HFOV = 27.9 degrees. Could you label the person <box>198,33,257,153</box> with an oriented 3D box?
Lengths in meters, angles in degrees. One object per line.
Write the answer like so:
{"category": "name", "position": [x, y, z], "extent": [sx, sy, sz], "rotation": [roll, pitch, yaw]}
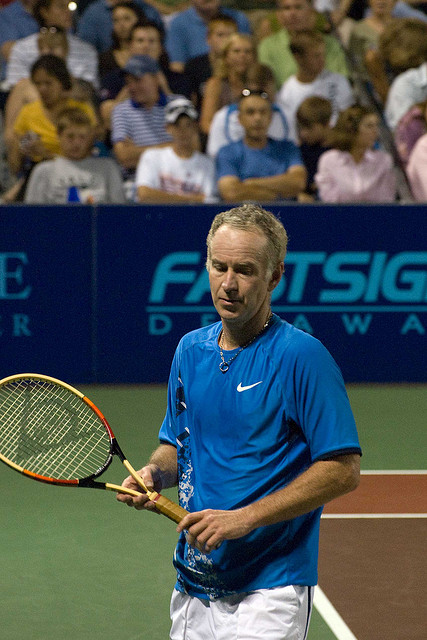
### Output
{"category": "person", "position": [0.220, -2.241, 9.356], "extent": [0.645, 1.638, 0.841], "rotation": [5, 21, -3]}

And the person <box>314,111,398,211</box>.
{"category": "person", "position": [1.451, -1.648, 8.747], "extent": [0.829, 1.182, 0.354], "rotation": [-1, -5, 2]}

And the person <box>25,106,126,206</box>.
{"category": "person", "position": [-1.382, -1.554, 8.385], "extent": [0.936, 1.018, 0.568], "rotation": [2, -14, -12]}

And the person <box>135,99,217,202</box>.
{"category": "person", "position": [-0.385, -1.670, 8.636], "extent": [0.836, 0.932, 0.438], "rotation": [-2, 12, -16]}

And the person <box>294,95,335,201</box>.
{"category": "person", "position": [1.101, -2.036, 9.340], "extent": [0.386, 1.352, 0.410], "rotation": [-19, 56, 1]}

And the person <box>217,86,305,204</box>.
{"category": "person", "position": [0.486, -1.754, 8.755], "extent": [0.899, 1.094, 0.699], "rotation": [1, 12, -3]}
